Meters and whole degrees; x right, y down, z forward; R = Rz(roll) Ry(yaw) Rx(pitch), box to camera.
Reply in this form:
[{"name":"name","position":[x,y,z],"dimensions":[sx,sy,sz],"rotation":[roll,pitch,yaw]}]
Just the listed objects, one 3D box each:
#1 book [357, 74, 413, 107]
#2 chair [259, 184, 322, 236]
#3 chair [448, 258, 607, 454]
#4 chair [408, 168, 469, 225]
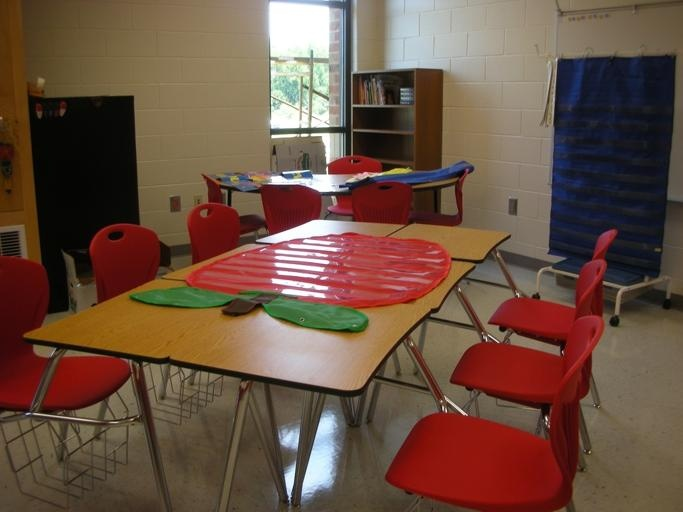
[{"name":"book","position":[0.434,-1.860,5.673],"dimensions":[0.390,0.192,0.569],"rotation":[4,9,18]},{"name":"chair","position":[-0.399,-0.404,3.888],"dimensions":[0.355,0.648,0.419],"rotation":[-4,15,-12]},{"name":"chair","position":[0.852,0.454,2.300],"dimensions":[0.545,0.785,0.485],"rotation":[11,34,27]},{"name":"chair","position":[0.828,-0.529,4.336],"dimensions":[0.543,0.500,0.411],"rotation":[4,13,13]}]
